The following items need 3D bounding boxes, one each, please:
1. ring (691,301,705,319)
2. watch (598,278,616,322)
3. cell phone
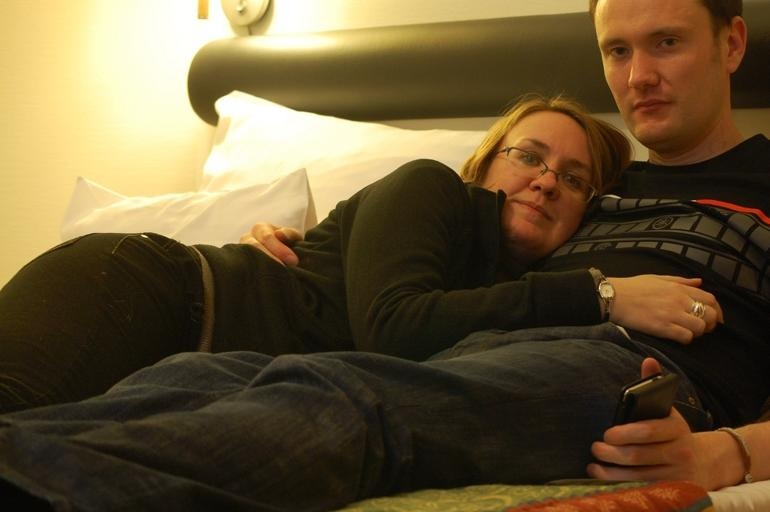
[{"bbox_3d":[0.615,0.104,1.241,0.025,0.029,0.012,0,-4,1],"label":"ring"},{"bbox_3d":[0.436,0.088,1.269,0.034,0.073,0.040,-2,-20,13],"label":"watch"},{"bbox_3d":[0.413,0.240,0.991,0.151,0.142,0.034,-21,39,-12],"label":"cell phone"}]
